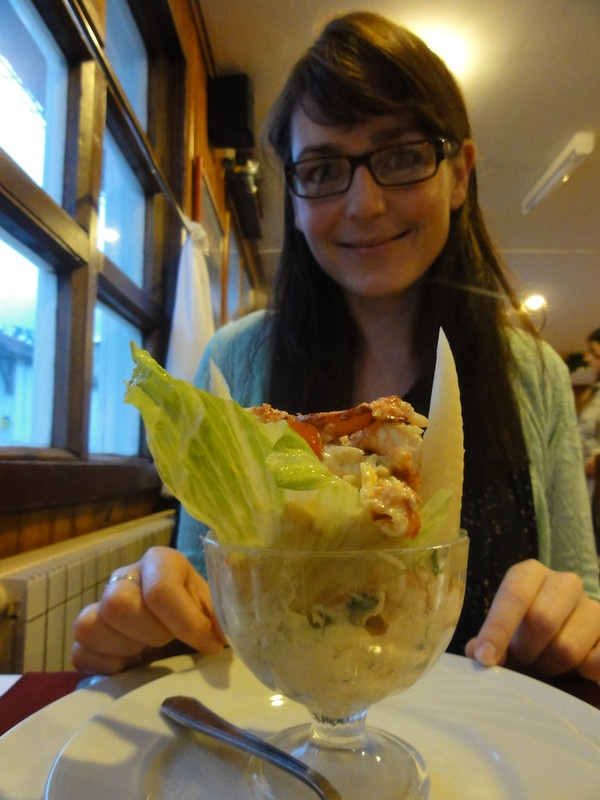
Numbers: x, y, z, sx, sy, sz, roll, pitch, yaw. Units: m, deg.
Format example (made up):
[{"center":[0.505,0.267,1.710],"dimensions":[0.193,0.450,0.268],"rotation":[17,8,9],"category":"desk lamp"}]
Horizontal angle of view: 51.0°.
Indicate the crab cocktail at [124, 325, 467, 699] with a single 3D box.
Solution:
[{"center":[-0.003,0.069,0.517],"dimensions":[0.270,0.265,0.215],"rotation":[-3,0,14],"category":"crab cocktail"}]
